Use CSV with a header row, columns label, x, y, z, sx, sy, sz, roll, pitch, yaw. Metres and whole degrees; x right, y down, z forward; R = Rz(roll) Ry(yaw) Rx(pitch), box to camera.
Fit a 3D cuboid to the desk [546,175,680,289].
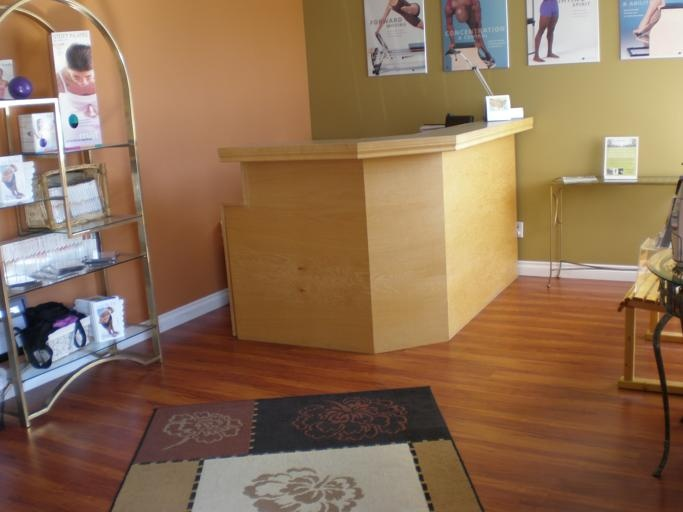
label,x,y,z,sx,sy,sz,roll,pitch,yaw
desk,2.079,-0.217,4.102,0.927,0.801,0.387,1,6,14
